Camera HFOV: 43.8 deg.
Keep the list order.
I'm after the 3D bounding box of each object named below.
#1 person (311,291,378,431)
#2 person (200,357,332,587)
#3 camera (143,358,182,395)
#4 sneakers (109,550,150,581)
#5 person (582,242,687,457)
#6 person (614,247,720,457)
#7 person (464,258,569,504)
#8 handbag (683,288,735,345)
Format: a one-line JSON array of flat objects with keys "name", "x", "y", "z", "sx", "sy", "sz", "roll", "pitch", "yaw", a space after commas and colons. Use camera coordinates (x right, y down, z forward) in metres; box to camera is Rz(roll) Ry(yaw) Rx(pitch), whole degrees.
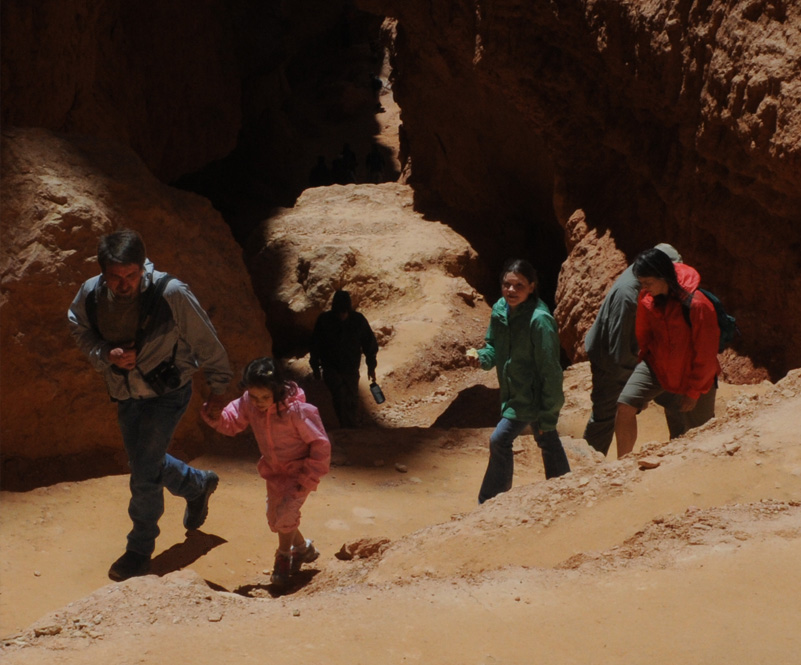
[{"name": "person", "x": -0.567, "y": 0.334, "z": 9.856, "sx": 0.674, "sy": 1.555, "sz": 0.469, "roll": 1, "pitch": 31, "yaw": -1}, {"name": "person", "x": -0.730, "y": 0.785, "z": 5.704, "sx": 0.636, "sy": 1.315, "sz": 0.359, "roll": -4, "pitch": 10, "yaw": -9}, {"name": "camera", "x": -1.338, "y": 0.256, "z": 5.636, "sx": 0.204, "sy": 0.153, "sz": 0.076, "roll": 30, "pitch": -7, "yaw": -18}, {"name": "sneakers", "x": -1.558, "y": 1.329, "z": 5.779, "sx": 0.157, "sy": 0.148, "sz": 0.335, "roll": -2, "pitch": -7, "yaw": 44}, {"name": "person", "x": 1.578, "y": 0.246, "z": 7.098, "sx": 0.583, "sy": 1.683, "sz": 0.528, "roll": -2, "pitch": 27, "yaw": -14}, {"name": "person", "x": 1.737, "y": 0.135, "z": 6.521, "sx": 0.652, "sy": 1.381, "sz": 0.530, "roll": 0, "pitch": 10, "yaw": 12}, {"name": "person", "x": 0.757, "y": 0.325, "z": 6.387, "sx": 0.589, "sy": 1.539, "sz": 0.380, "roll": 2, "pitch": 11, "yaw": 23}, {"name": "handbag", "x": 2.072, "y": -0.087, "z": 6.553, "sx": 0.272, "sy": 0.420, "sz": 0.749, "roll": 3, "pitch": 11, "yaw": 27}]
